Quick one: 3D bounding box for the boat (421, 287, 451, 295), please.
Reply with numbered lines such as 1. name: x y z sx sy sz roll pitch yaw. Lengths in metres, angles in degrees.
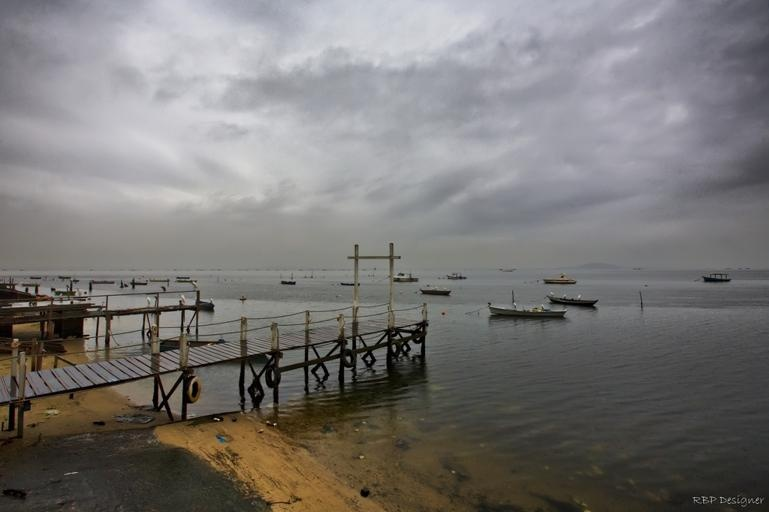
1. boat: 11.908 7.936 131.069 7.899 2.419 2.921 2 -7 11
